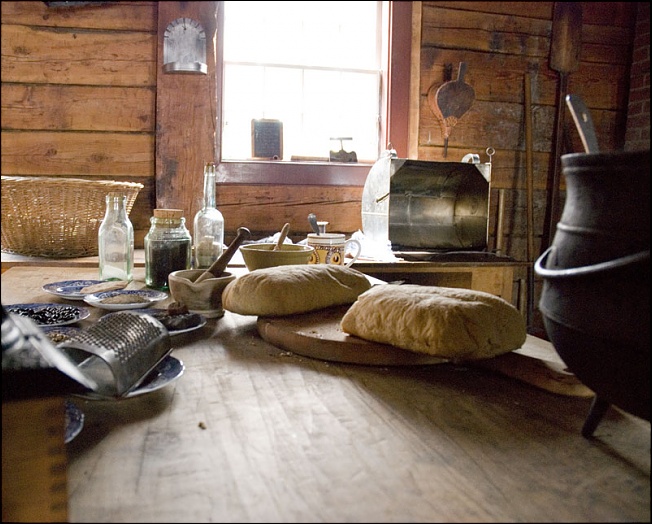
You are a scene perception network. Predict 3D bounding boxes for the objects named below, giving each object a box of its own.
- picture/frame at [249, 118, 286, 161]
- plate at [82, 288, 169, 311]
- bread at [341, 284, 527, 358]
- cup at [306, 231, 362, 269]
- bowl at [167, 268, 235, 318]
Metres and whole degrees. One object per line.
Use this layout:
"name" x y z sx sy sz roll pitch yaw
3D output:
"picture/frame" -0.349 -0.701 3.057 0.283 0.299 0.025 -1 2 -20
"plate" -0.389 0.074 1.028 0.077 0.015 0.074 4 8 1
"bread" 0.139 0.066 0.765 0.181 0.051 0.127 -1 0 39
"cup" 0.031 -0.041 1.631 0.160 0.099 0.098 1 1 -22
"bowl" -0.248 0.069 1.054 0.124 0.076 0.128 -2 4 0
